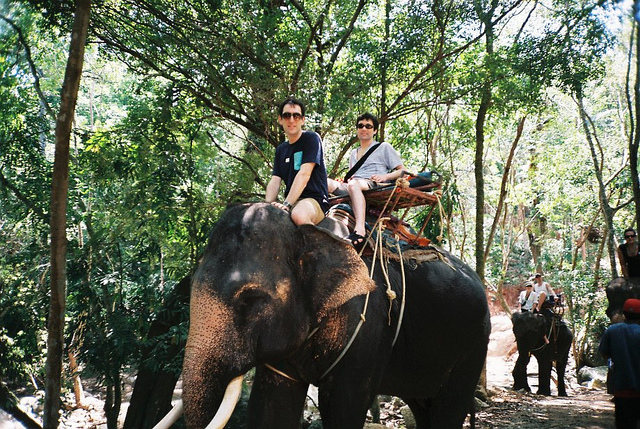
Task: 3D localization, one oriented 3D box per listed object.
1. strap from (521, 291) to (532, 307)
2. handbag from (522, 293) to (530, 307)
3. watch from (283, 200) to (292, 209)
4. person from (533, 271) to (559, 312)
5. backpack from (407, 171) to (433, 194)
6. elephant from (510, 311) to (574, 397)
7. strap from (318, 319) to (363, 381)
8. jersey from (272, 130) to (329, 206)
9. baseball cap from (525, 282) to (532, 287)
[{"bbox_3d":[5.782,2.430,14.380,0.056,0.391,0.052,13,26,-20],"label":"strap"},{"bbox_3d":[5.785,2.393,14.361,0.073,0.060,0.533,-5,-41,-16],"label":"handbag"},{"bbox_3d":[-0.346,-0.110,5.419,0.067,0.037,0.056,45,-15,-29],"label":"watch"},{"bbox_3d":[6.230,2.131,14.193,0.571,1.099,1.356,-7,-17,24],"label":"person"},{"bbox_3d":[1.143,-0.389,5.985,0.332,0.158,0.254,-3,-3,31],"label":"backpack"},{"bbox_3d":[5.946,3.683,13.761,1.485,2.179,1.019,-1,-15,5],"label":"elephant"},{"bbox_3d":[0.193,1.384,5.230,0.093,0.768,0.090,39,9,20],"label":"strap"},{"bbox_3d":[-0.240,-0.497,5.849,0.695,0.823,0.434,-6,4,37],"label":"jersey"},{"bbox_3d":[5.745,1.906,14.085,0.136,0.118,0.260,-3,-16,12],"label":"baseball cap"}]
